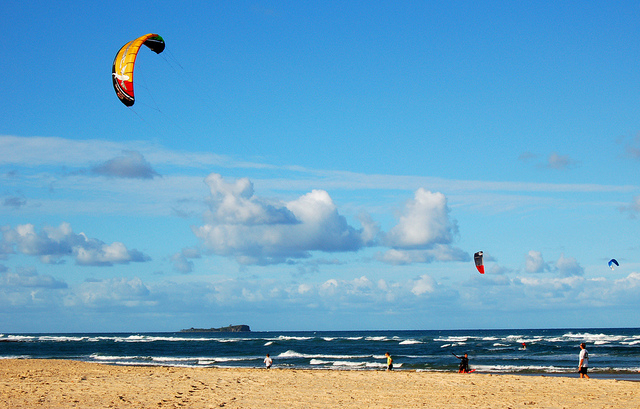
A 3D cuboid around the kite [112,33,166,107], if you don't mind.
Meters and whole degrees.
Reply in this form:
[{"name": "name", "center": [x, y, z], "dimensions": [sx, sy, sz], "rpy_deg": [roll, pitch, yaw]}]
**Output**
[{"name": "kite", "center": [-14.453, -10.712, 78.534], "dimensions": [3.893, 6.490, 3.239], "rpy_deg": [5, -13, -29]}]
